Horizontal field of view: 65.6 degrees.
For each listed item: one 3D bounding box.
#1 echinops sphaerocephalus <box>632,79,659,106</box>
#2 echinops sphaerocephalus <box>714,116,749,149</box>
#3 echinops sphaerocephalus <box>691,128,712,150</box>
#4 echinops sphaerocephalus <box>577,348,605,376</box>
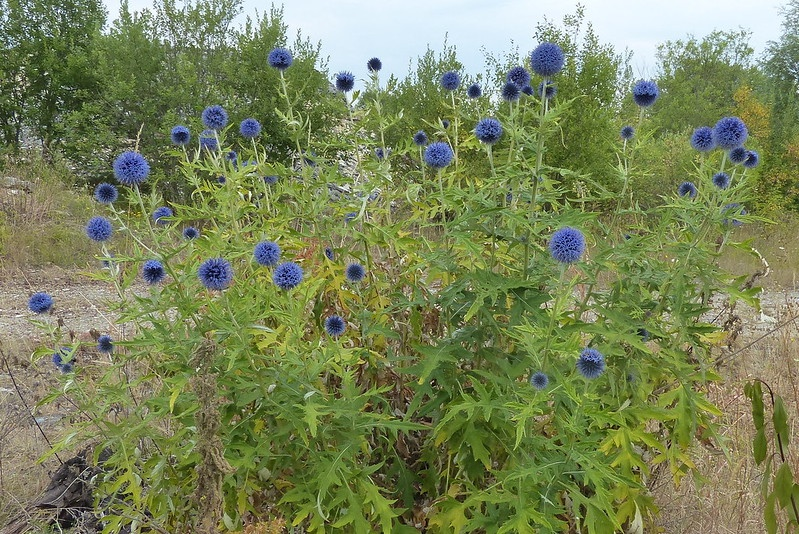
[{"bbox_3d":[2.092,-1.473,5.263,0.208,0.233,0.382,7,14,19],"label":"echinops sphaerocephalus"},{"bbox_3d":[2.705,-1.088,5.056,0.247,0.260,0.245,8,15,25],"label":"echinops sphaerocephalus"},{"bbox_3d":[2.553,-1.067,5.189,0.182,0.196,0.277,8,15,23],"label":"echinops sphaerocephalus"},{"bbox_3d":[1.293,0.646,4.164,0.161,0.168,0.172,9,15,28],"label":"echinops sphaerocephalus"}]
